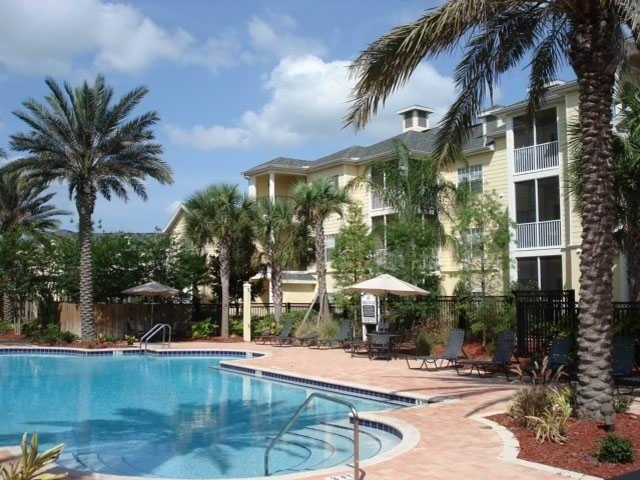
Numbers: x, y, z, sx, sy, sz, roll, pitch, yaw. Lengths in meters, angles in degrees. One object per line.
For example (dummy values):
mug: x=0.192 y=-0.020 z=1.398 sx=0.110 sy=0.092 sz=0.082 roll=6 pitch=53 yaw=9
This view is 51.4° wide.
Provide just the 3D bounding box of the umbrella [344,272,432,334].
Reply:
umbrella: x=2.908 y=2.585 z=26.856 sx=2.239 sy=1.704 sz=2.430 roll=2 pitch=-9 yaw=-11
